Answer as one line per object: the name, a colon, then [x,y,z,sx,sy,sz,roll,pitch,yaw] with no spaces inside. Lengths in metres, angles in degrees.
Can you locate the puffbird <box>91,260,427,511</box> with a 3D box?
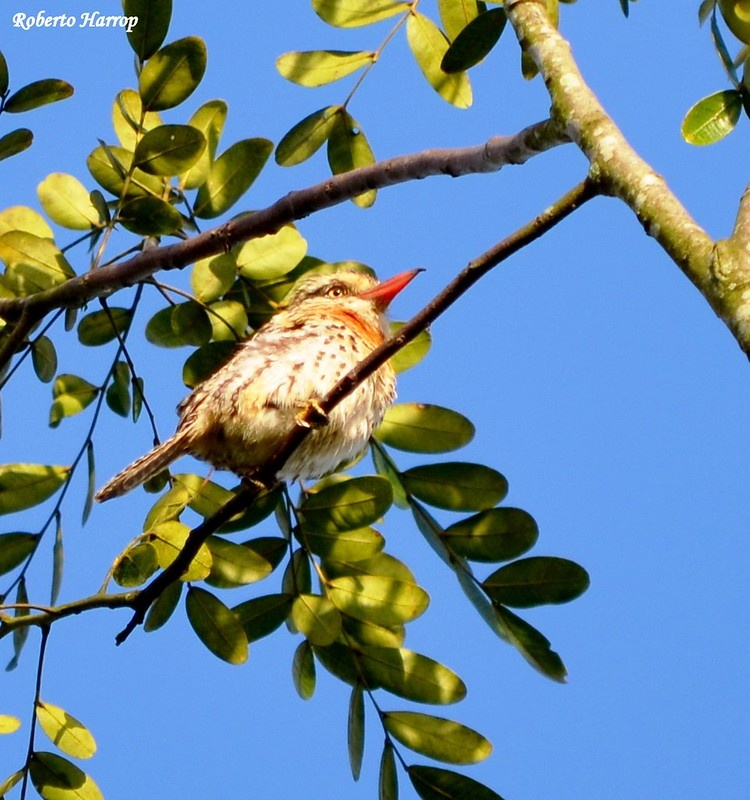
puffbird: [-0.343,-0.079,5.862,1.294,0.885,0.658,-4,-21,-27]
